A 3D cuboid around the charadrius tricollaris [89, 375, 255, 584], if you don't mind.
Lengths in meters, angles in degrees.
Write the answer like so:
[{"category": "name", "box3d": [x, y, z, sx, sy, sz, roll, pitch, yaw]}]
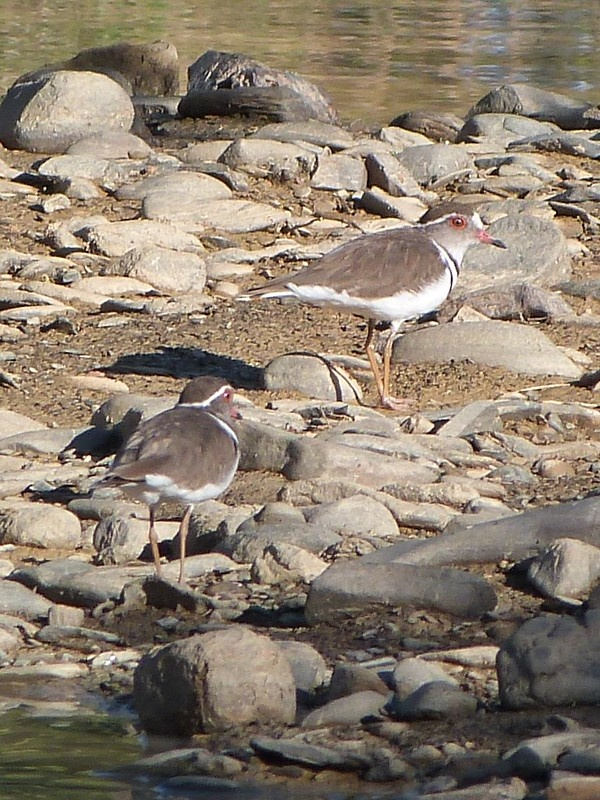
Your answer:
[{"category": "charadrius tricollaris", "box3d": [-0.622, 0.330, 7.382, 0.561, 0.878, 1.009, 0, -2, 32]}]
